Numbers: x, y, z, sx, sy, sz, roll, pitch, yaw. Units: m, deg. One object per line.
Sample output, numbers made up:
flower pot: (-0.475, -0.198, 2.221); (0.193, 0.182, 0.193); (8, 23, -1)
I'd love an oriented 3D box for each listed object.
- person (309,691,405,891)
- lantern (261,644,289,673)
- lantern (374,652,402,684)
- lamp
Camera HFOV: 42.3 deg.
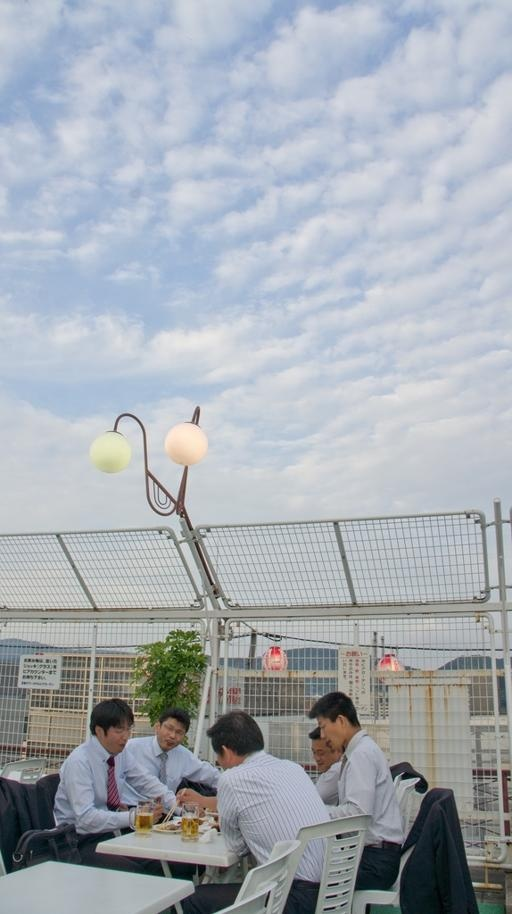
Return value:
person: (0.551, 1.775, 3.556); (0.480, 0.458, 1.222); (-13, 23, 11)
lantern: (0.173, 1.824, 6.043); (0.203, 0.262, 0.210); (2, -15, -1)
lantern: (1.141, 1.782, 5.718); (0.211, 0.249, 0.219); (-1, -4, -3)
lamp: (-1.033, 0.631, 6.883); (1.217, 0.389, 2.697); (2, -57, -4)
